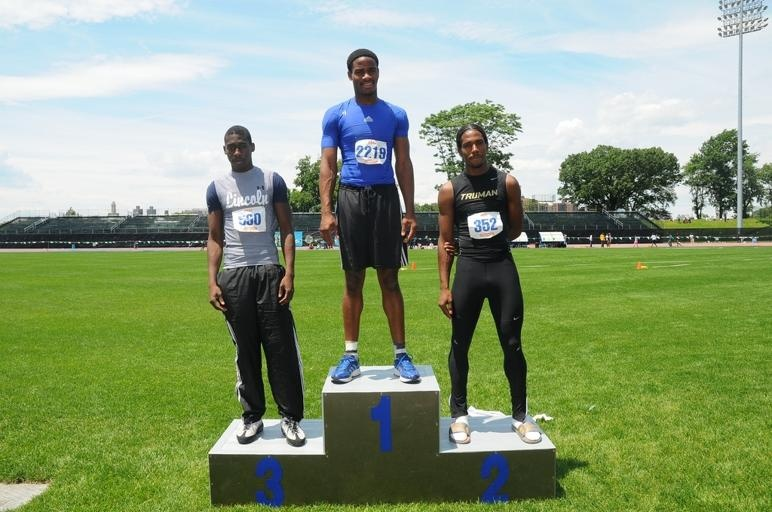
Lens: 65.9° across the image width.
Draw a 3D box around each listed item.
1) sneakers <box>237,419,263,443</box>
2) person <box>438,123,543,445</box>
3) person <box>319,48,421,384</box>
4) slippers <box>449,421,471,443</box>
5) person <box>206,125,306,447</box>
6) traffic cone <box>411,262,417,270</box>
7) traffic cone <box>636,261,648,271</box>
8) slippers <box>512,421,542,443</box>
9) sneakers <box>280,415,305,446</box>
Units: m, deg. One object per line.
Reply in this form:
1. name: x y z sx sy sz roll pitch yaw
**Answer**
1. sneakers: -1.453 1.878 6.395 0.272 0.179 0.261 -1 6 -13
2. person: 1.102 0.214 6.633 1.067 3.361 1.025 1 6 9
3. person: -0.204 -0.243 6.801 1.105 3.094 0.817 0 6 1
4. slippers: 0.798 1.865 6.359 0.226 0.182 0.279 1 6 7
5. person: -1.431 0.252 6.586 1.240 3.368 0.846 1 6 13
6. traffic cone: 1.364 0.499 28.471 0.246 0.307 0.263 -1 15 0
7. traffic cone: 11.118 0.420 25.797 0.584 0.399 0.201 -7 14 -11
8. slippers: 1.511 1.859 6.332 0.292 0.151 0.264 1 6 12
9. sneakers: -0.984 1.872 6.322 0.155 0.144 0.347 1 0 -27
